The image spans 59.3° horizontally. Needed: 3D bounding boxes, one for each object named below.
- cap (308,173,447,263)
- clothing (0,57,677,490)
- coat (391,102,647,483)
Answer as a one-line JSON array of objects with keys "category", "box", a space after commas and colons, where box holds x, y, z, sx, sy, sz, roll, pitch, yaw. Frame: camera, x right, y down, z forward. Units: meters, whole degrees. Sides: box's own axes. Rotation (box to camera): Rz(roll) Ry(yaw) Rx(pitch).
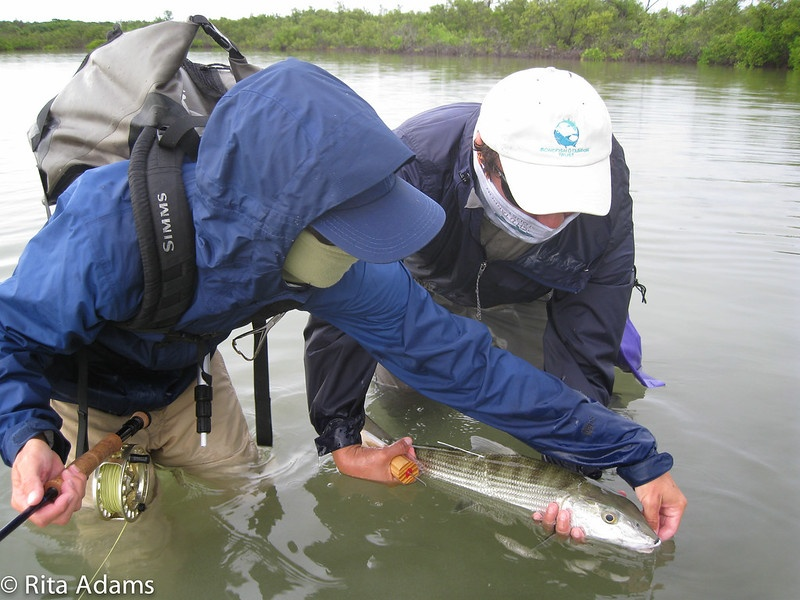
[{"category": "cap", "box": [-0.084, -0.392, 3.338, 0.660, 0.378, 0.247, -14, 20, -35]}, {"category": "clothing", "box": [-0.497, -0.063, 3.648, 2.927, 2.235, 0.835, -6, 17, -13]}, {"category": "coat", "box": [0.774, -0.161, 5.056, 1.596, 2.531, 1.318, -8, -12, -3]}]
